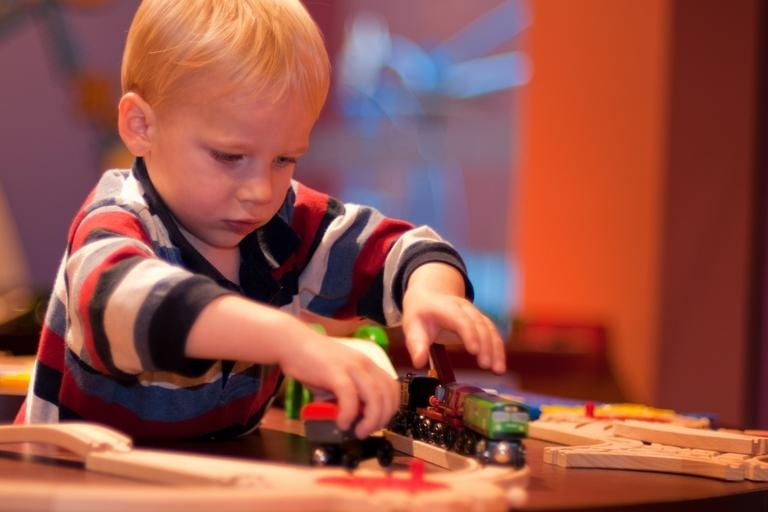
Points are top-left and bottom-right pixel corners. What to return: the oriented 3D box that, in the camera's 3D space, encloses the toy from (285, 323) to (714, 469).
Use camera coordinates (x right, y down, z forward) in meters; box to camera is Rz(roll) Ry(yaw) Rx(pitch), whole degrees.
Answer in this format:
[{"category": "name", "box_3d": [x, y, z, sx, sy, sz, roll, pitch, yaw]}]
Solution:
[{"category": "toy", "box_3d": [0.172, 0.211, 1.071, 0.618, 0.167, 0.504, 0, 0, -12]}]
